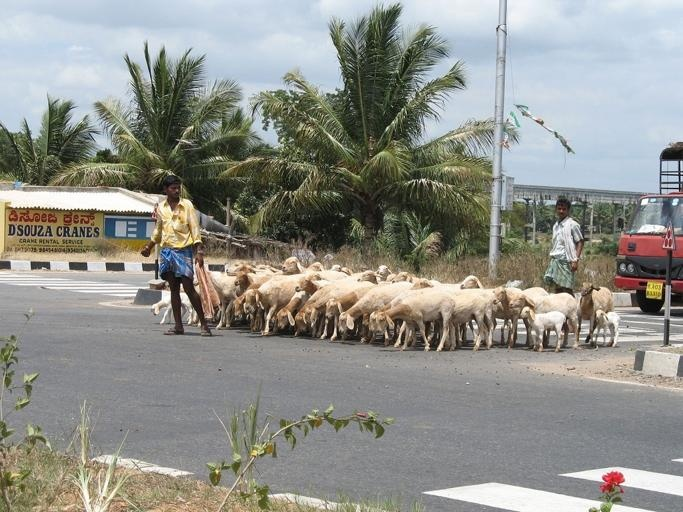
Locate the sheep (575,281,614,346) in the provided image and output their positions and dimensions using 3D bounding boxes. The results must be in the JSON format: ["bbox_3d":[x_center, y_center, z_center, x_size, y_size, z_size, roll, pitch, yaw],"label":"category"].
[{"bbox_3d":[4.242,0.769,14.637,0.412,0.812,1.316,-1,-12,22],"label":"sheep"}]

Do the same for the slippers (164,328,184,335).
[{"bbox_3d":[-2.738,1.234,14.337,0.270,0.090,0.118,7,-12,-27],"label":"slippers"}]

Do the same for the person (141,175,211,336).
[{"bbox_3d":[-2.686,-0.039,14.293,1.000,2.613,0.836,0,2,-18],"label":"person"}]
